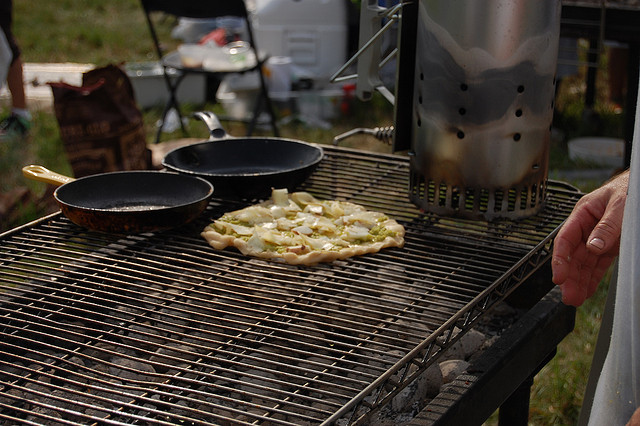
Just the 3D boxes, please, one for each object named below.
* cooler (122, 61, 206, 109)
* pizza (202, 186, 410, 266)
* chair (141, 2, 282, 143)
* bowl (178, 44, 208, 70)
[{"bbox_3d":[-1.116,-0.932,4.310,0.718,0.313,0.521,-9,29,-28],"label":"cooler"},{"bbox_3d":[-0.028,0.024,1.643,0.533,0.126,0.325,2,28,15],"label":"pizza"},{"bbox_3d":[-0.793,-1.139,4.468,0.828,1.045,1.817,-9,27,-6],"label":"chair"},{"bbox_3d":[-0.841,-1.067,4.032,0.195,0.090,0.453,-10,27,-8],"label":"bowl"}]
